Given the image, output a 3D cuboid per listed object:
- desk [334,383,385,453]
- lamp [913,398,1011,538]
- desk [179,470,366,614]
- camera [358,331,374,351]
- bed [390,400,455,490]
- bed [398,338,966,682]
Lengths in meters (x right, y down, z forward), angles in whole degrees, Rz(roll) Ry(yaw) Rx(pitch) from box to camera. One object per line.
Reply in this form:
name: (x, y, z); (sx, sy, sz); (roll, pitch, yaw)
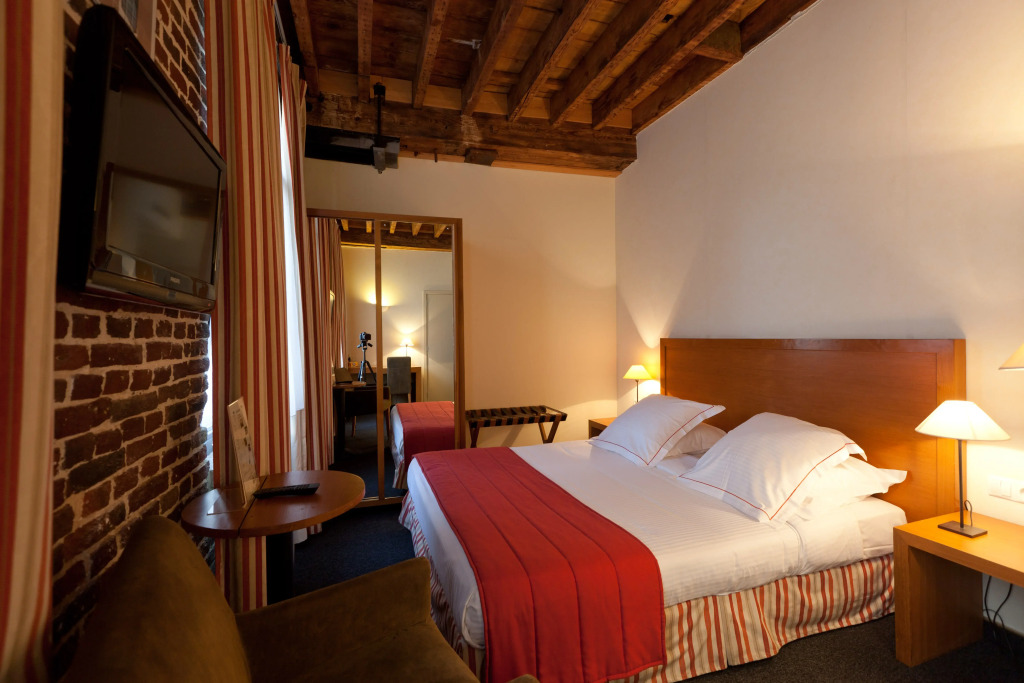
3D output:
desk: (-1.229, 0.562, 5.585); (0.334, 0.345, 0.327); (8, -9, 45)
lamp: (2.252, 0.600, 3.620); (0.374, 0.632, 0.345); (6, 11, 34)
desk: (-1.083, 0.989, 3.272); (0.678, 0.486, 0.710); (2, 3, 16)
camera: (-1.103, -0.016, 5.471); (0.103, 0.148, 0.125); (2, -7, -41)
bed: (-0.693, 0.766, 5.531); (0.569, 0.333, 0.577); (-2, 5, -18)
bed: (0.994, 0.916, 3.881); (1.501, 0.942, 1.524); (-2, 3, -20)
